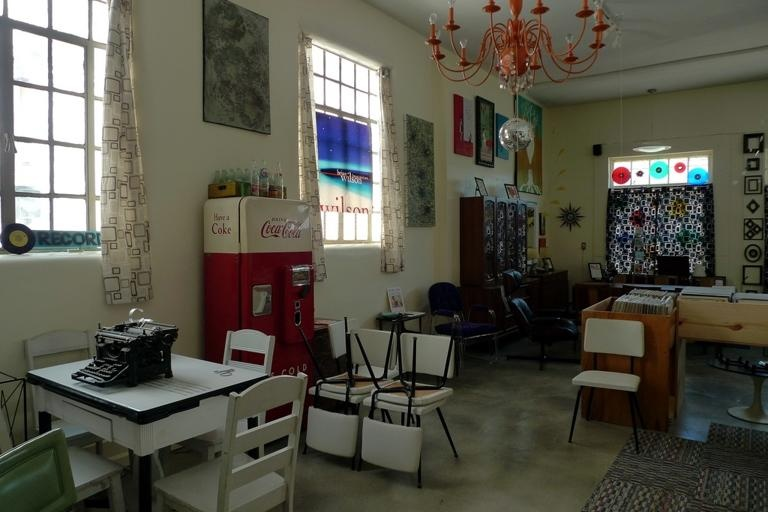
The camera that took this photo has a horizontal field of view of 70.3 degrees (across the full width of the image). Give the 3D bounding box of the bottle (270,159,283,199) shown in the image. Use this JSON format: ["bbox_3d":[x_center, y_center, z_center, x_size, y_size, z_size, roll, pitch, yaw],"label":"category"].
[{"bbox_3d":[-1.211,-0.860,6.137,0.152,0.364,0.605,-3,13,-10],"label":"bottle"}]

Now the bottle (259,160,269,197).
[{"bbox_3d":[-1.320,-0.809,5.975,0.099,0.260,0.585,-3,13,-11],"label":"bottle"}]

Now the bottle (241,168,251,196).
[{"bbox_3d":[-1.442,-0.767,5.693,0.099,0.240,0.330,-3,13,-13],"label":"bottle"}]

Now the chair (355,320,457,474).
[{"bbox_3d":[0.248,1.428,5.326,0.833,1.253,0.911,0,0,21],"label":"chair"}]

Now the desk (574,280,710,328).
[{"bbox_3d":[4.275,0.937,10.261,1.457,0.769,0.494,2,-7,2],"label":"desk"}]

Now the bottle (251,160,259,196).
[{"bbox_3d":[-1.407,-0.849,5.932,0.093,0.317,0.580,-3,13,-12],"label":"bottle"}]

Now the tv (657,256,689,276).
[{"bbox_3d":[5.474,0.171,10.420,0.535,0.366,0.335,5,13,22],"label":"tv"}]

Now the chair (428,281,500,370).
[{"bbox_3d":[1.131,0.961,8.090,0.881,1.147,0.883,-1,0,45],"label":"chair"}]

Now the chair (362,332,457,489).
[{"bbox_3d":[0.204,1.462,5.357,0.758,1.277,0.860,1,1,40],"label":"chair"}]

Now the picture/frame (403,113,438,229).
[{"bbox_3d":[0.535,-1.353,8.376,0.092,1.698,0.906,-13,22,-25],"label":"picture/frame"}]

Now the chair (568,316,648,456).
[{"bbox_3d":[2.343,1.315,5.688,0.799,1.199,0.751,-7,7,-41],"label":"chair"}]

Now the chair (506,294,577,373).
[{"bbox_3d":[2.396,1.080,8.202,0.949,0.940,0.946,-4,0,14],"label":"chair"}]

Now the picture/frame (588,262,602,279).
[{"bbox_3d":[4.283,0.293,11.156,0.316,0.385,0.110,1,-22,-13],"label":"picture/frame"}]

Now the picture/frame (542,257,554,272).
[{"bbox_3d":[3.348,0.164,11.384,0.085,0.319,0.330,2,2,43],"label":"picture/frame"}]

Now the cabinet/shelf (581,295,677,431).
[{"bbox_3d":[2.971,1.343,6.450,0.950,1.239,1.256,3,-6,32],"label":"cabinet/shelf"}]

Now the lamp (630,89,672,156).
[{"bbox_3d":[5.000,-2.516,10.169,0.692,1.263,2.295,5,14,24],"label":"lamp"}]

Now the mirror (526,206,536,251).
[{"bbox_3d":[2.885,-0.544,10.886,0.041,1.072,0.894,-1,-1,21],"label":"mirror"}]

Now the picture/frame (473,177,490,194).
[{"bbox_3d":[1.664,-1.245,9.594,0.130,0.248,0.328,-11,-1,25],"label":"picture/frame"}]

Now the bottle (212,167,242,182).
[{"bbox_3d":[-1.671,-0.858,5.812,0.267,0.142,0.350,-7,14,-28],"label":"bottle"}]

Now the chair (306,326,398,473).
[{"bbox_3d":[-0.319,1.385,5.576,0.599,1.172,0.764,-3,-5,32],"label":"chair"}]

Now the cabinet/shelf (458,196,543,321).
[{"bbox_3d":[1.882,0.076,9.189,0.609,2.560,2.170,-2,-2,31],"label":"cabinet/shelf"}]
